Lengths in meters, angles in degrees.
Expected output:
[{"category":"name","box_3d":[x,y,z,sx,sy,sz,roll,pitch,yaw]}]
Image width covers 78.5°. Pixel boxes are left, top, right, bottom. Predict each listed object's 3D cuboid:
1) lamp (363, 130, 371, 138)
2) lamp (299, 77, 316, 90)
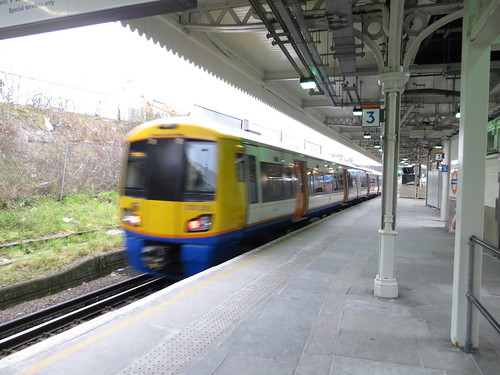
[{"category":"lamp","box_3d":[7.301,-3.349,19.066,0.469,0.309,0.929,-1,3,17]},{"category":"lamp","box_3d":[1.673,-3.016,8.788,0.377,0.327,0.616,1,2,19]}]
